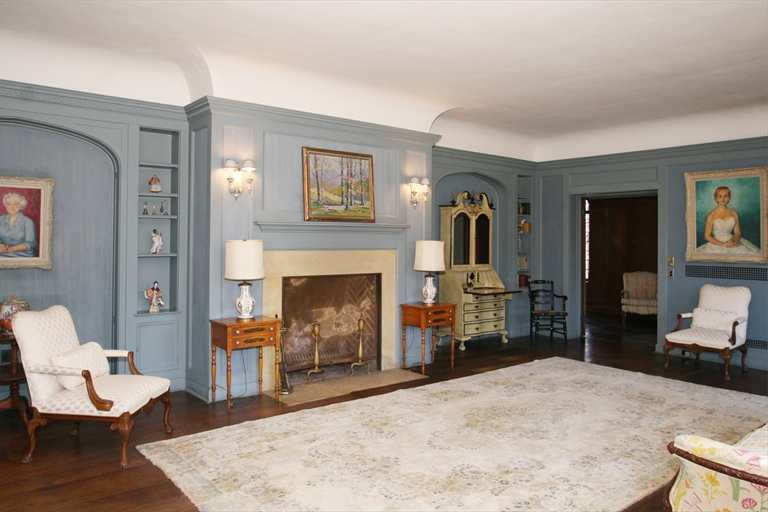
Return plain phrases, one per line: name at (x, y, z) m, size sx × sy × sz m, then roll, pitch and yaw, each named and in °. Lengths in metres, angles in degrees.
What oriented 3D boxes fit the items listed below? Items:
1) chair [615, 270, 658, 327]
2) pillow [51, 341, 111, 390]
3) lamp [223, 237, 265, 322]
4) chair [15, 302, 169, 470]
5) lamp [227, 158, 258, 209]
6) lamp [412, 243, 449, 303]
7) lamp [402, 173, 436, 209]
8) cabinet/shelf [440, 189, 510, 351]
chair at (6.019, 0.900, 12.185) m, size 1.080 × 1.328 × 1.174 m, roll -2°, pitch -6°, yaw 29°
pillow at (-3.204, 1.151, 5.443) m, size 0.127 × 0.406 × 0.426 m, roll -18°, pitch 1°, yaw 28°
lamp at (-1.794, 0.293, 6.583) m, size 0.459 × 1.005 × 0.488 m, roll -2°, pitch 8°, yaw -16°
chair at (-3.347, 1.260, 5.694) m, size 1.800 × 1.759 × 1.368 m, roll 1°, pitch -1°, yaw 11°
lamp at (-1.875, -0.994, 6.693) m, size 0.416 × 0.512 × 0.248 m, roll -2°, pitch 8°, yaw -16°
lamp at (0.687, 0.244, 8.055) m, size 0.463 × 0.986 × 0.519 m, roll 0°, pitch 8°, yaw 2°
lamp at (0.534, -1.010, 8.159) m, size 0.541 × 0.486 × 0.157 m, roll -5°, pitch 9°, yaw -34°
cabinet/shelf at (1.634, 0.238, 9.530) m, size 1.190 × 2.840 × 0.820 m, roll -5°, pitch 9°, yaw -33°
